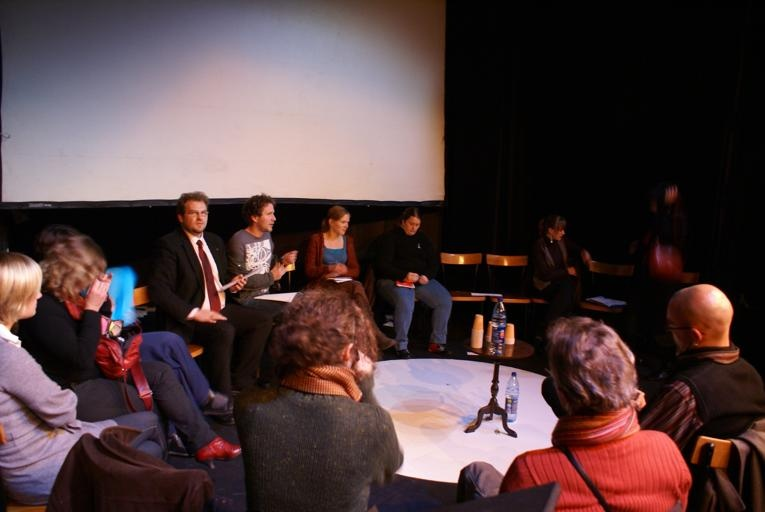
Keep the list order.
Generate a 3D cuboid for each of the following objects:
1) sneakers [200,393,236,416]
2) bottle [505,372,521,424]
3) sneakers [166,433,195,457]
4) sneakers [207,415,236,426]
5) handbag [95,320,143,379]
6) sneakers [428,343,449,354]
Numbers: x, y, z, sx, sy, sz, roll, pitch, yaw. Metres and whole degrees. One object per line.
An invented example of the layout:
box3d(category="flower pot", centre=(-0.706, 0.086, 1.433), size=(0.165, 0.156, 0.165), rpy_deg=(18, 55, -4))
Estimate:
box3d(category="sneakers", centre=(-1.132, 1.017, 3.847), size=(0.219, 0.160, 0.163), rpy_deg=(-4, 9, -34))
box3d(category="bottle", centre=(0.919, 0.989, 3.952), size=(0.096, 0.373, 0.331), rpy_deg=(3, 8, 15))
box3d(category="sneakers", centre=(-1.277, 1.177, 3.440), size=(0.113, 0.112, 0.160), rpy_deg=(-5, 9, -38))
box3d(category="sneakers", centre=(-1.101, 1.121, 3.801), size=(0.237, 0.053, 0.070), rpy_deg=(4, 8, 24))
box3d(category="handbag", centre=(-1.506, 0.563, 3.187), size=(0.142, 0.306, 0.242), rpy_deg=(-26, -11, 18))
box3d(category="sneakers", centre=(0.528, 0.879, 5.244), size=(0.196, 0.091, 0.077), rpy_deg=(-1, -2, 13))
